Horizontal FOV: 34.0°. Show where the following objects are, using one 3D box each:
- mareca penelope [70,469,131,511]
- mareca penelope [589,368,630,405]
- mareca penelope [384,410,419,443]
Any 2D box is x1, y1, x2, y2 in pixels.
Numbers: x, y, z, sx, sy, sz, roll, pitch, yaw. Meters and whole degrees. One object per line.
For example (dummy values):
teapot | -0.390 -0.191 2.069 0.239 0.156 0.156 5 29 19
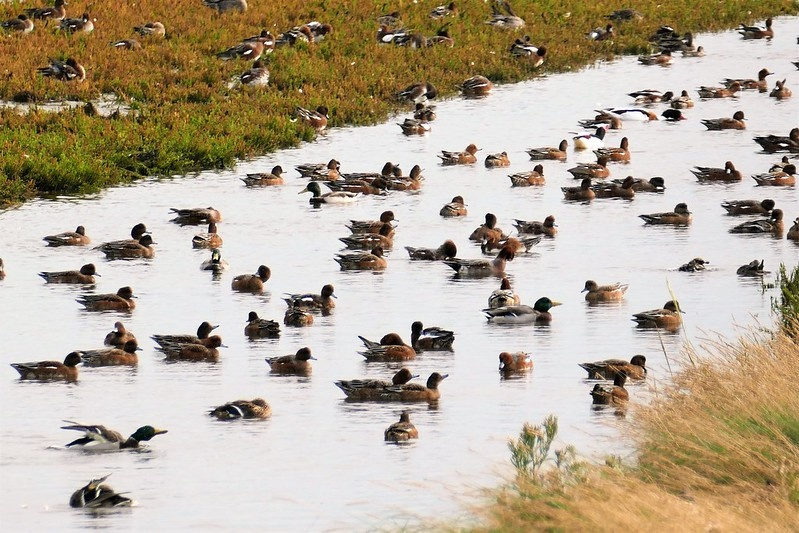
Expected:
mareca penelope | -5.305 3.984 23.447 0.849 0.333 0.622 6 25 1
mareca penelope | 4.445 2.550 27.242 0.842 0.567 0.474 -5 6 -32
mareca penelope | 0.092 3.167 25.946 0.435 0.463 0.728 4 4 23
